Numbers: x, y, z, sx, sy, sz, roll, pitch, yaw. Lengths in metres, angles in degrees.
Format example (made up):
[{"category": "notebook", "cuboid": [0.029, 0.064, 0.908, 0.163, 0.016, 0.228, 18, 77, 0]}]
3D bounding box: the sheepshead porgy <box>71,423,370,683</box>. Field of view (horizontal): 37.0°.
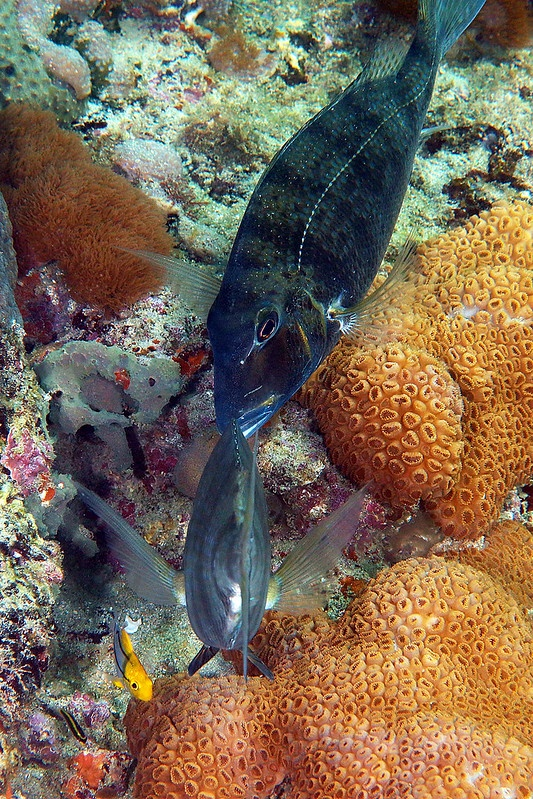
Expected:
[{"category": "sheepshead porgy", "cuboid": [-0.159, 0.564, 2.846, 0.963, 0.541, 1.159, 2, 86, 2]}]
